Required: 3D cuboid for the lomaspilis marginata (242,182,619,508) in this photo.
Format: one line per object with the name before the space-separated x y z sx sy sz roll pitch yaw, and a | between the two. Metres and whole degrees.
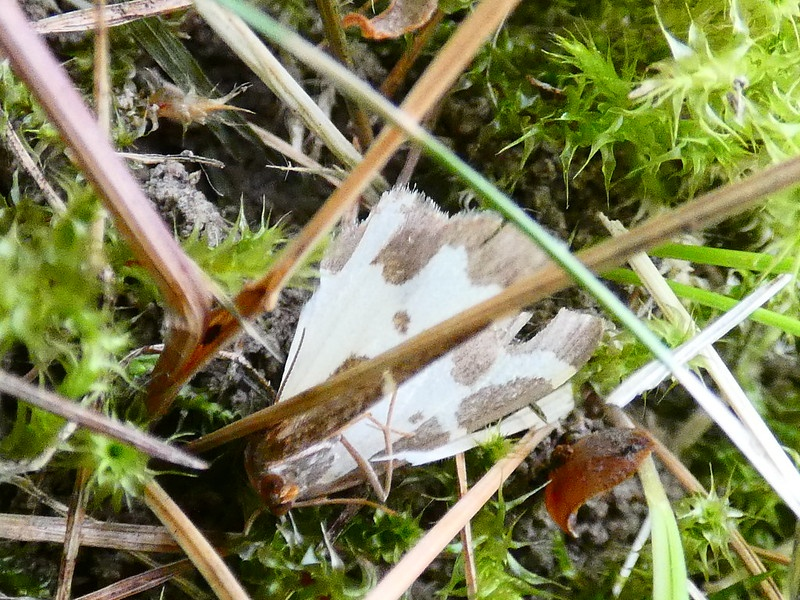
lomaspilis marginata | 0.008 0.068 0.953 0.368 0.107 0.353 -44 95 -1
